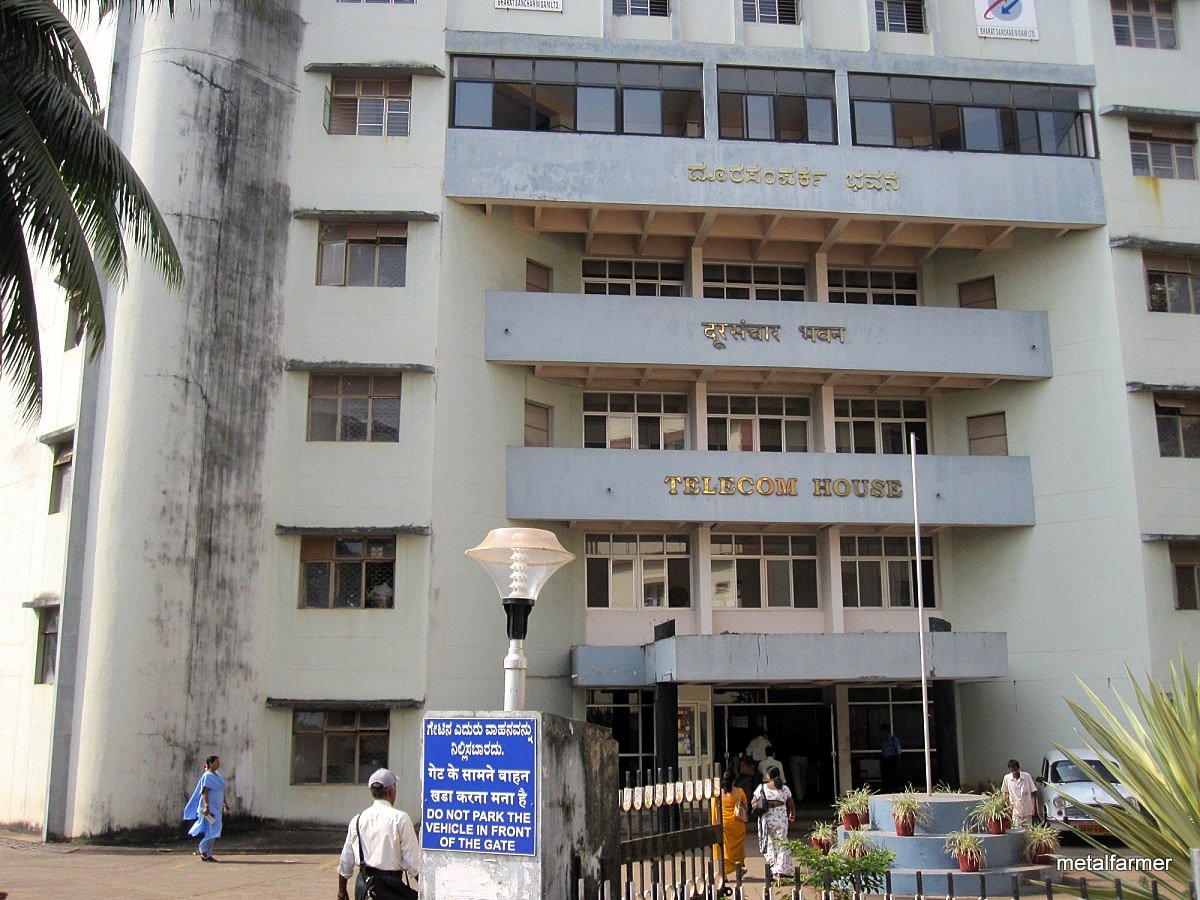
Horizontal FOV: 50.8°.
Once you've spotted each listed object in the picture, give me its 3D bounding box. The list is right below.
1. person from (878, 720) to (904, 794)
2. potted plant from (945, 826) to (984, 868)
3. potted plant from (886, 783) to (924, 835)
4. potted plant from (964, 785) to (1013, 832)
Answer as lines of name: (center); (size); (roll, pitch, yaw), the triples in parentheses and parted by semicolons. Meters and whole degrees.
person: (8.427, 8.981, 36.689); (0.591, 1.856, 1.100); (-1, -8, 12)
potted plant: (6.711, 7.456, 23.462); (0.611, 0.630, 0.670); (-3, -19, 18)
potted plant: (5.912, 7.059, 24.405); (0.583, 0.721, 0.809); (-5, -10, 33)
potted plant: (7.568, 7.075, 24.641); (0.675, 0.505, 0.733); (-2, -19, 7)
